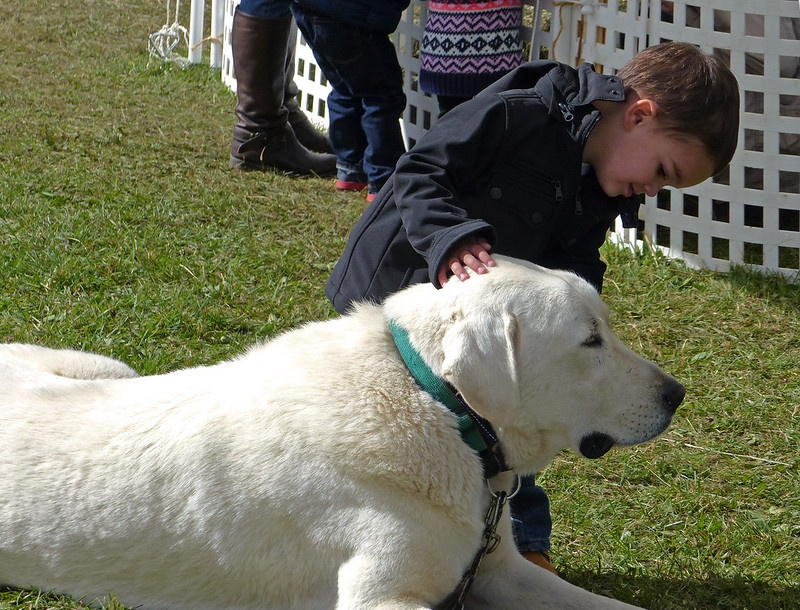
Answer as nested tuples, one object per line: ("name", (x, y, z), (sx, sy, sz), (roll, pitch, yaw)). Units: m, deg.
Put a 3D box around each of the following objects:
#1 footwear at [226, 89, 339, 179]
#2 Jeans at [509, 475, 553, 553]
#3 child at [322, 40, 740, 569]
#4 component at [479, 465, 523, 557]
("footwear", (-0.887, -1.416, 7.268), (0.897, 0.699, 0.363), (3, 35, -20))
("Jeans", (0.561, 0.899, 3.866), (0.159, 0.114, 0.344), (7, 59, -6))
("child", (0.636, -0.514, 4.818), (1.956, 3.245, 1.702), (15, 18, 21))
("component", (0.356, 0.758, 3.271), (0.101, 0.296, 0.067), (11, -15, -35))
